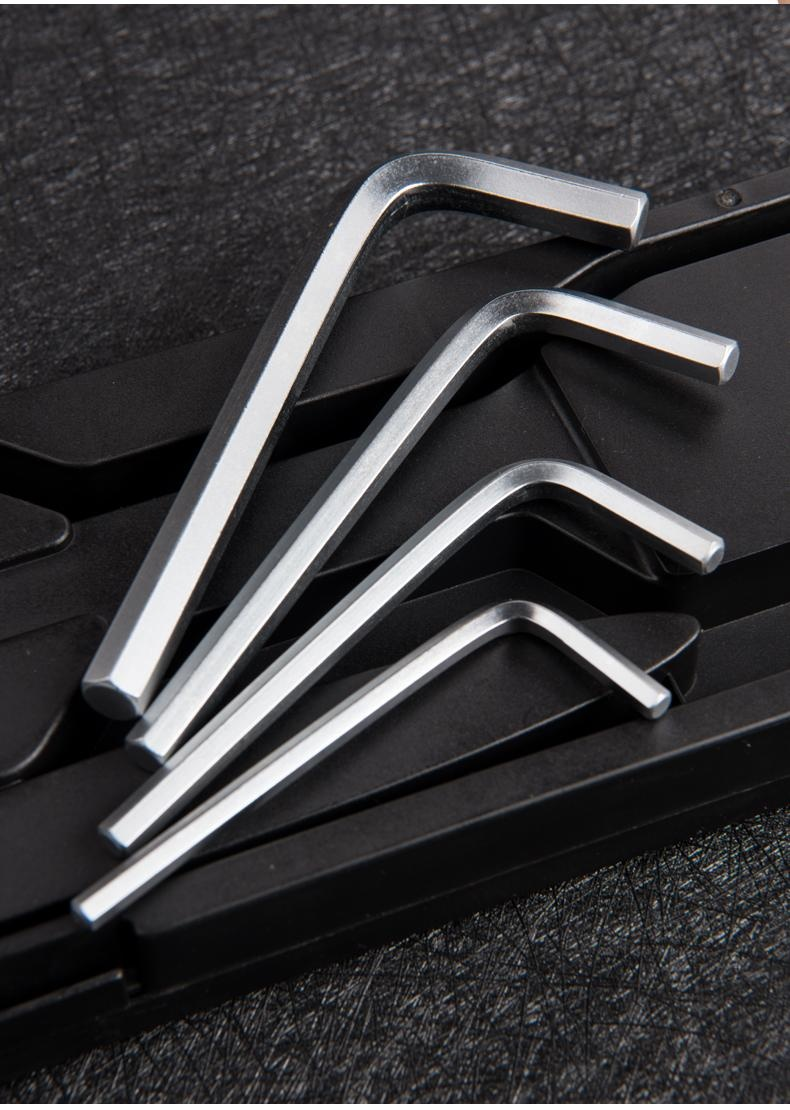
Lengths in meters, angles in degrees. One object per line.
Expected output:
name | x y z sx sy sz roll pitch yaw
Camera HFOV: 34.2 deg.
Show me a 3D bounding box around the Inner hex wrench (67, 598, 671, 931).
Inner hex wrench | -0.013 0.066 0.442 0.207 0.034 0.059 -21 45 -10
